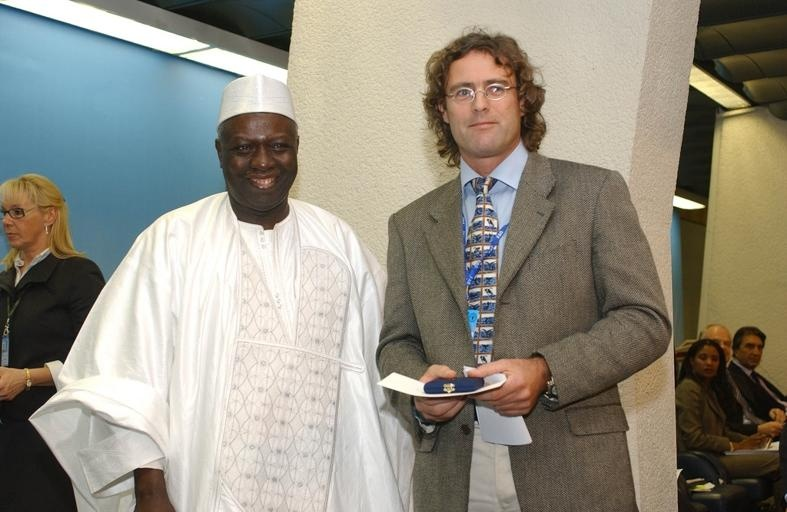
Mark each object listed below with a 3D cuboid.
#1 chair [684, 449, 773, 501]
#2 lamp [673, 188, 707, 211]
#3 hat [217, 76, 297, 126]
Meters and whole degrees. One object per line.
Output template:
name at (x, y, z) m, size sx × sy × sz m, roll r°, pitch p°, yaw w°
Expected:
chair at (2.668, 1.743, 5.478) m, size 0.432 × 0.275 × 0.452 m, roll -9°, pitch -12°, yaw 31°
lamp at (3.409, -0.643, 7.828) m, size 0.414 × 0.243 × 0.083 m, roll 1°, pitch 0°, yaw -12°
hat at (-0.638, -0.668, 3.170) m, size 0.263 × 0.167 × 0.264 m, roll -13°, pitch -16°, yaw 21°
